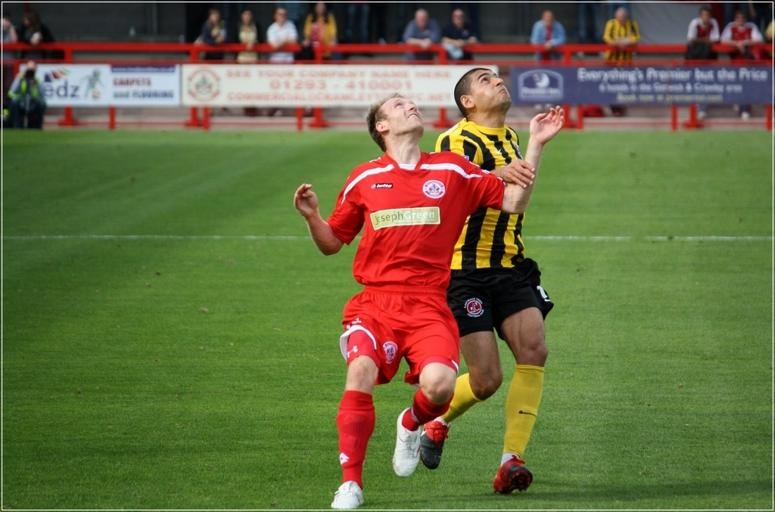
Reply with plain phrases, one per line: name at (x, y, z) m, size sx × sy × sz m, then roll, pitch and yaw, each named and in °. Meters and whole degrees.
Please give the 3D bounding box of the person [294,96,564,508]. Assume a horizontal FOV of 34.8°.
person at (0.098, 0.296, 9.575) m, size 1.579 × 3.063 × 0.975 m, roll -1°, pitch 8°, yaw -8°

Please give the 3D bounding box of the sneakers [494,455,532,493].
sneakers at (0.967, 1.673, 9.502) m, size 0.277 × 0.278 × 0.138 m, roll 1°, pitch 8°, yaw 5°

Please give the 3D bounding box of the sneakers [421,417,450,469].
sneakers at (0.378, 1.486, 9.847) m, size 0.145 × 0.169 × 0.430 m, roll 26°, pitch 35°, yaw -27°

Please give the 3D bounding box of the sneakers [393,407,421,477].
sneakers at (0.129, 1.440, 9.757) m, size 0.201 × 0.541 × 0.218 m, roll 1°, pitch 2°, yaw -13°

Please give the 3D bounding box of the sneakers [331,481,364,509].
sneakers at (-0.297, 1.778, 9.300) m, size 0.242 × 0.208 × 0.134 m, roll -1°, pitch 8°, yaw -4°

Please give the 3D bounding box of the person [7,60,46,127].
person at (-3.985, -1.777, 13.561) m, size 0.338 × 0.743 × 3.366 m, roll -3°, pitch 8°, yaw -17°
